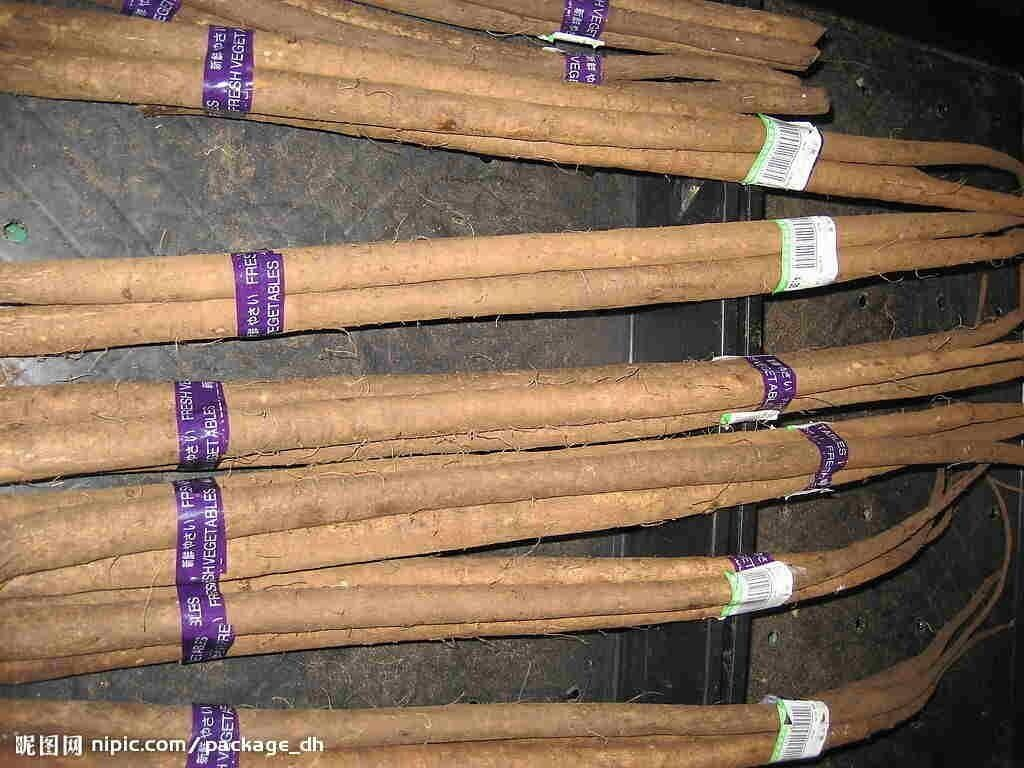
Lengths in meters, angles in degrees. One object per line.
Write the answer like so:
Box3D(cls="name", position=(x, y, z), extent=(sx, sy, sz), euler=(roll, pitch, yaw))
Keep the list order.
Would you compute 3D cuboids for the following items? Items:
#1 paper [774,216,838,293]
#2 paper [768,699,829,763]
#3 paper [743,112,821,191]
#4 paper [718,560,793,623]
Box3D(cls="paper", position=(0.989, -0.435, 3.585), extent=(0.212, 0.241, 0.101), euler=(1, 21, 3))
Box3D(cls="paper", position=(0.976, 1.171, 3.641), extent=(0.212, 0.197, 0.090), euler=(-2, 21, -6))
Box3D(cls="paper", position=(0.907, -0.771, 3.578), extent=(0.248, 0.240, 0.072), euler=(3, 22, 8))
Box3D(cls="paper", position=(0.822, 0.697, 3.605), extent=(0.255, 0.206, 0.074), euler=(-3, 21, -10))
